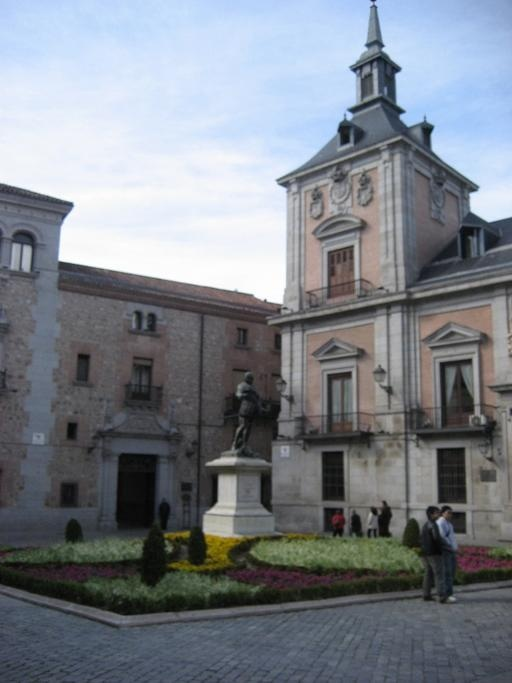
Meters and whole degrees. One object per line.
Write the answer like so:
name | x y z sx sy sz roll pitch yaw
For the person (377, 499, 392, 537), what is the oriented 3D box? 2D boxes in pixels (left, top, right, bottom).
person | 4.478 6.290 24.221 0.407 1.237 1.100 -1 -8 9

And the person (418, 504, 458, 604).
person | 3.200 3.779 12.213 0.546 1.573 1.026 -2 -8 13

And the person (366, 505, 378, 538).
person | 4.121 6.426 24.390 0.326 1.107 1.369 -1 -8 10

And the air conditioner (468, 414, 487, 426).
air conditioner | 7.902 2.841 24.494 0.393 0.388 0.561 4 -8 -19

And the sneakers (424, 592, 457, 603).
sneakers | 3.116 4.382 11.757 0.558 0.222 0.193 -3 -13 11
